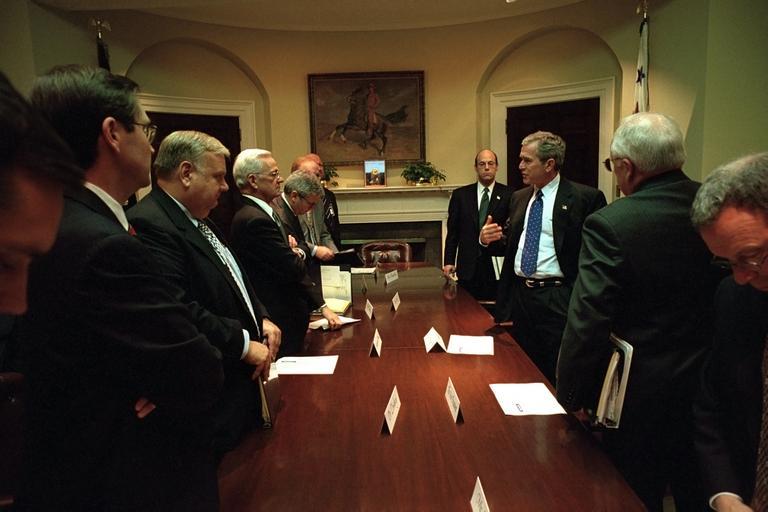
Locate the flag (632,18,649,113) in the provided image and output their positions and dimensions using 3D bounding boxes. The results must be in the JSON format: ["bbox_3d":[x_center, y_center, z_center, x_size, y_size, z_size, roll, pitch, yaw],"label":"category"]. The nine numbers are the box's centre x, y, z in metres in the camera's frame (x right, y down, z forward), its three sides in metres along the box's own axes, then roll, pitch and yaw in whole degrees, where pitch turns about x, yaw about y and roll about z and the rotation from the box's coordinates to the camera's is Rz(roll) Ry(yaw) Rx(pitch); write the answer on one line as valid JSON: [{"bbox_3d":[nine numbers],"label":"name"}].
[{"bbox_3d":[2.517,-1.841,5.221,0.140,0.846,0.296,5,14,24],"label":"flag"}]

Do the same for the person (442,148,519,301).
[{"bbox_3d":[0.819,0.028,4.701,0.553,1.846,0.571,4,12,11],"label":"person"}]

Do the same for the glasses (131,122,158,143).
[{"bbox_3d":[-0.767,-0.395,1.711,0.091,0.031,0.096,3,5,-2],"label":"glasses"}]

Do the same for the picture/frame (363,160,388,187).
[{"bbox_3d":[-0.113,-1.101,7.165,0.352,0.454,0.058,0,-6,-2],"label":"picture/frame"}]

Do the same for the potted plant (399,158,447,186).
[{"bbox_3d":[0.455,-1.078,7.120,0.367,0.229,0.385,0,8,-18],"label":"potted plant"}]
